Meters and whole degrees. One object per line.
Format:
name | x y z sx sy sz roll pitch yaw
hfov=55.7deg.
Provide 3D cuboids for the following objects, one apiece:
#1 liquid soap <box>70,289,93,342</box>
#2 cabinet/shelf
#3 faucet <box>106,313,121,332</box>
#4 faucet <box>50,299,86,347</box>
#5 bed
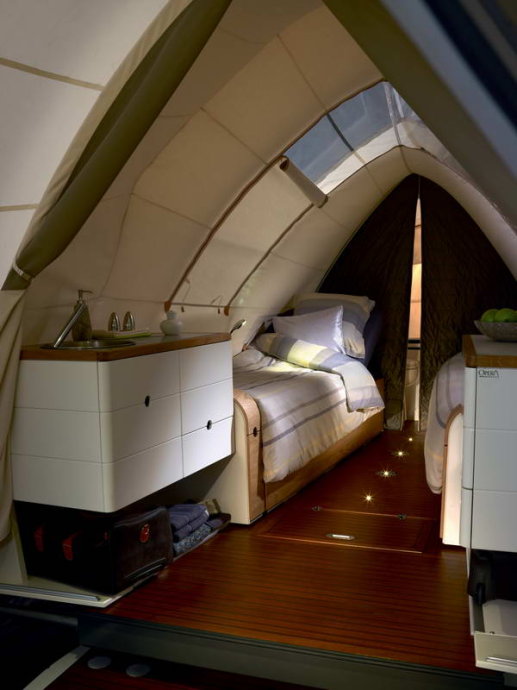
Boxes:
liquid soap | -0.704 -0.124 1.963 0.087 0.060 0.237 -4 -52 -22
cabinet/shelf | -0.494 0.281 2.111 0.411 0.589 0.860 -1 4 27
faucet | -0.665 -0.107 2.253 0.044 0.082 0.214 -2 0 -19
faucet | -0.751 -0.085 1.951 0.125 0.165 0.303 -2 0 -10
bed | 0.098 0.448 3.354 0.960 0.808 1.643 -6 2 37
